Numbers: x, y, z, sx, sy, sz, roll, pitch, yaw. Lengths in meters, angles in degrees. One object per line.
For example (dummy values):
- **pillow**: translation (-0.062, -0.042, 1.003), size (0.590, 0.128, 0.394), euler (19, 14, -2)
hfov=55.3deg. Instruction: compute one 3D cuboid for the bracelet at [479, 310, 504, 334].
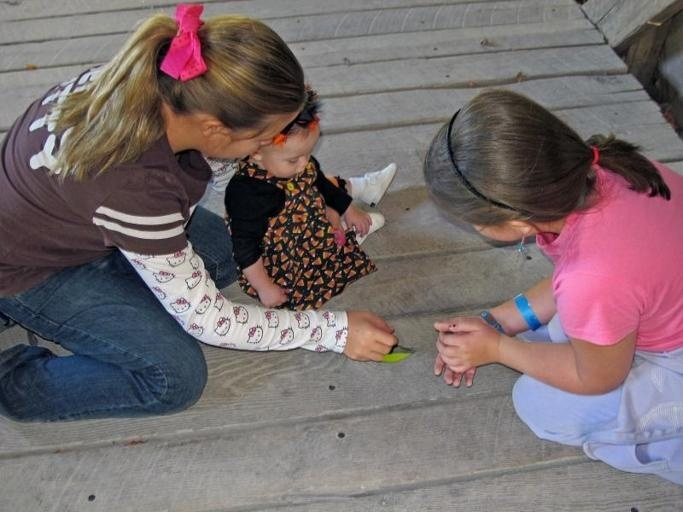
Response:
- **bracelet**: translation (0.491, 0.215, 2.135), size (0.088, 0.060, 0.043), euler (31, 102, -5)
